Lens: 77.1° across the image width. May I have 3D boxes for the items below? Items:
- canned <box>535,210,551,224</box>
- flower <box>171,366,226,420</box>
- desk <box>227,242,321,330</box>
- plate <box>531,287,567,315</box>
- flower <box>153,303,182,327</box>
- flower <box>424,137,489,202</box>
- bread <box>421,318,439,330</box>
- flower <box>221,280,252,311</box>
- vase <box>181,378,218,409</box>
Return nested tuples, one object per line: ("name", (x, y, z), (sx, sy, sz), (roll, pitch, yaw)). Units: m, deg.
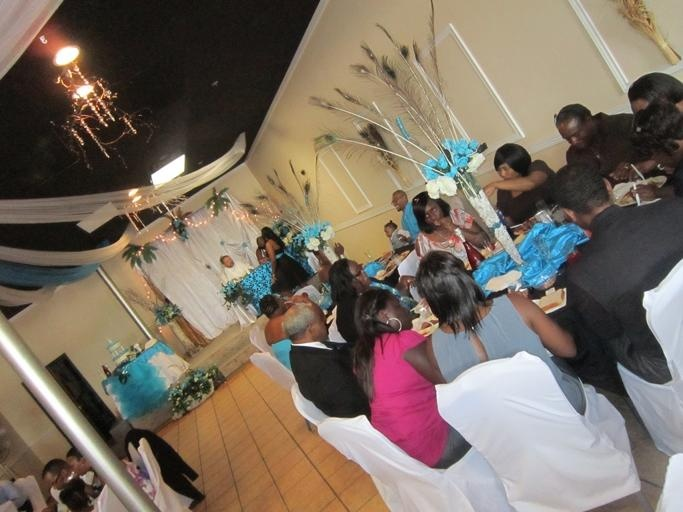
("canned", (1.403, -0.264, 2.966), (0.050, 0.052, 0.093), (-21, 3, -1))
("flower", (-2.638, 2.419, 7.755), (0.847, 0.504, 0.676), (-32, 5, 10))
("desk", (-1.136, 0.492, 6.900), (2.103, 0.988, 0.892), (-1, 33, -30))
("plate", (1.205, 0.252, 2.433), (0.155, 0.044, 0.159), (-41, 18, -32))
("flower", (-3.830, 1.285, 9.371), (0.472, 0.365, 0.486), (1, 4, -30))
("flower", (0.703, -0.522, 2.800), (0.364, 0.269, 0.363), (-33, 20, 1))
("bread", (0.600, 0.471, 2.959), (0.090, 0.031, 0.055), (-36, 15, -19))
("flower", (-2.154, 0.838, 8.971), (0.560, 0.373, 0.582), (3, -5, -6))
("vase", (-2.533, 2.485, 7.675), (0.416, 0.253, 0.484), (-5, 53, 38))
